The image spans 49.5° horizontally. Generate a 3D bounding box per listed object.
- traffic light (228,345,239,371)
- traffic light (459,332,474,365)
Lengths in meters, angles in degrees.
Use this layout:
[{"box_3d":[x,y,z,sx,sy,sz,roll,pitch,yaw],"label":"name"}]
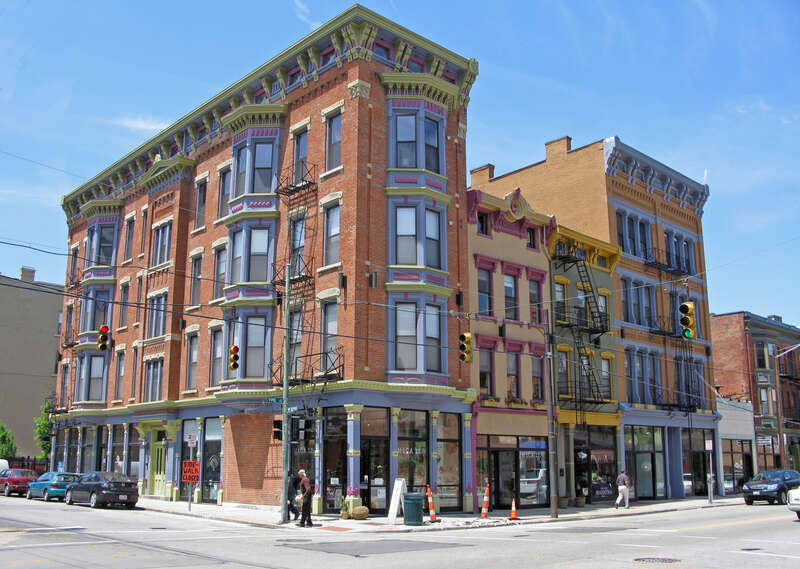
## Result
[{"box_3d":[-7.650,3.362,39.895,0.382,1.143,1.232,4,-19,-13],"label":"traffic light"},{"box_3d":[2.869,2.733,38.472,0.517,1.373,1.089,0,-19,-2],"label":"traffic light"}]
